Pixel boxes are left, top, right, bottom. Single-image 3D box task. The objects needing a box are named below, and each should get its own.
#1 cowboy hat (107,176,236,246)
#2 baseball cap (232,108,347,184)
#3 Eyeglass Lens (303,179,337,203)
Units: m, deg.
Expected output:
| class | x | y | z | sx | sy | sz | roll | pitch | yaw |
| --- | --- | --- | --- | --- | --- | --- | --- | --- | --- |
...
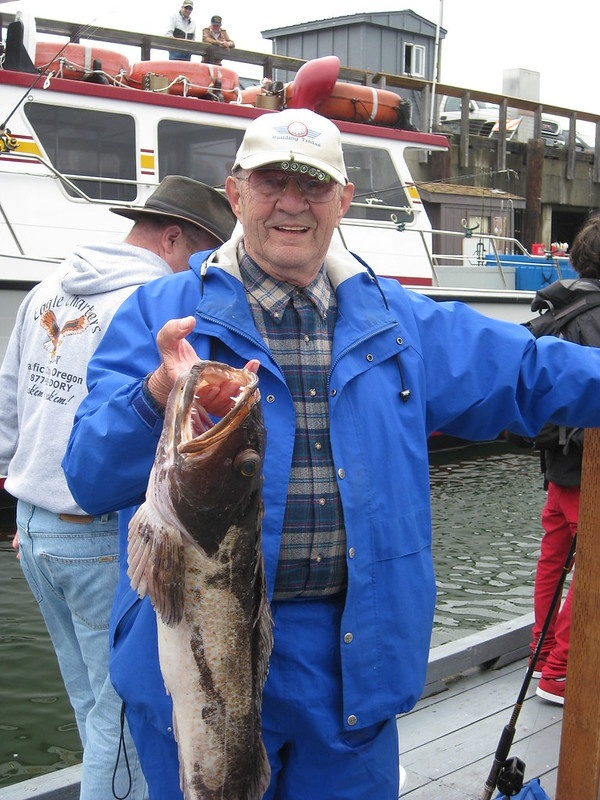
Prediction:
| class | x | y | z | sx | sy | sz | roll | pitch | yaw |
| --- | --- | --- | --- | --- | --- | --- | --- | --- | --- |
| cowboy hat | -0.364 | -0.582 | 3.205 | 0.368 | 0.120 | 0.309 | 23 | -8 | -40 |
| baseball cap | -0.024 | -0.591 | 2.244 | 0.259 | 0.136 | 0.299 | 2 | 14 | -16 |
| Eyeglass Lens | 0.039 | -0.468 | 2.214 | 0.064 | 0.023 | 0.058 | 0 | 2 | -4 |
